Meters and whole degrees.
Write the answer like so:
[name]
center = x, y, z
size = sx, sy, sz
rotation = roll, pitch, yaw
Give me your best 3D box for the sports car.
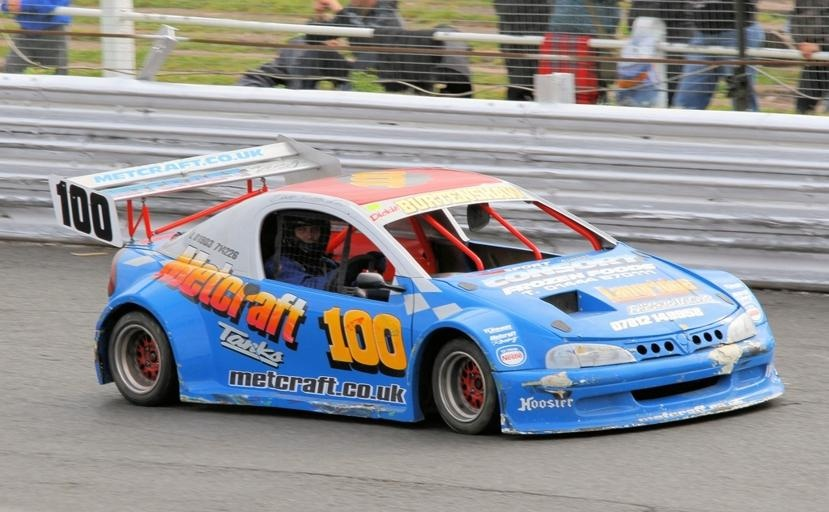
[sports car]
center = -0.001, 0.074, 7.963
size = 4.564, 1.078, 2.639
rotation = 18, 36, 37
